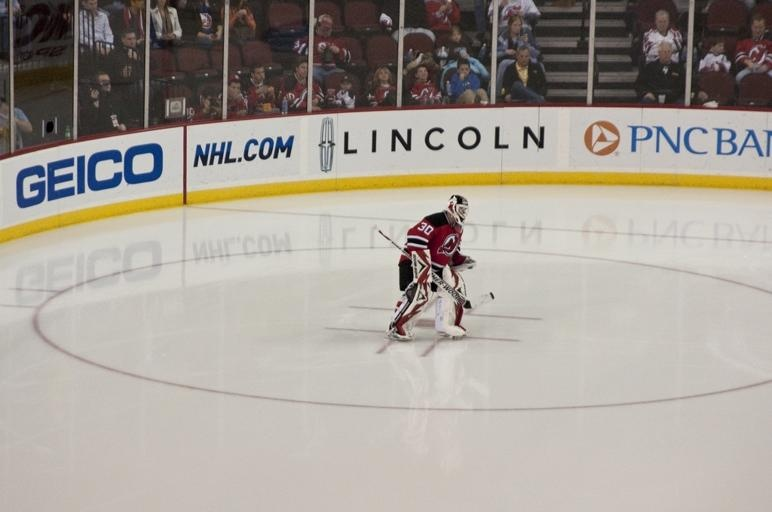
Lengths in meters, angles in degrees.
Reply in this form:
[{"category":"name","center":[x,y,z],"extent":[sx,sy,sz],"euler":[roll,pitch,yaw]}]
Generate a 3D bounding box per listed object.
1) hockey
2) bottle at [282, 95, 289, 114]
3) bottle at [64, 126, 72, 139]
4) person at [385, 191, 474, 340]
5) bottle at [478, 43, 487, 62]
[{"category":"hockey","center":[0.598,0.161,15.440],"extent":[1.554,0.266,0.167],"euler":[38,-3,3]},{"category":"bottle","center":[-1.746,-2.646,22.032],"extent":[0.103,0.253,0.111],"euler":[1,15,0]},{"category":"bottle","center":[-5.172,-2.029,20.578],"extent":[0.066,0.206,0.098],"euler":[10,18,31]},{"category":"person","center":[0.516,0.100,14.677],"extent":[0.903,1.599,0.847],"euler":[1,15,2]},{"category":"bottle","center":[1.763,-3.621,22.455],"extent":[0.191,0.239,0.062],"euler":[-5,18,-38]}]
